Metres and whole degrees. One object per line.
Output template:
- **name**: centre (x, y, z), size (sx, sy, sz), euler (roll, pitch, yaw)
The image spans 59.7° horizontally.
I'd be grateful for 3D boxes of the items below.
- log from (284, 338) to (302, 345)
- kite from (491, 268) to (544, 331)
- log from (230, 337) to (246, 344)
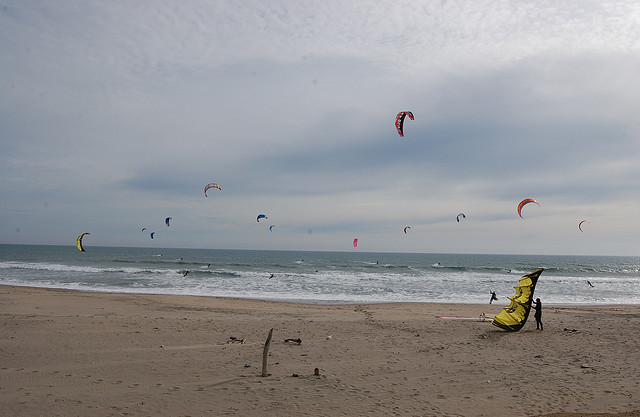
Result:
- **log**: centre (-1.025, 5.029, 21.138), size (0.638, 0.142, 0.391), euler (0, 0, 5)
- **kite**: centre (8.167, 3.865, 23.643), size (1.738, 2.646, 0.510), euler (15, -16, -1)
- **log**: centre (-3.116, 5.021, 21.243), size (0.593, 0.117, 0.669), euler (0, 0, -8)
